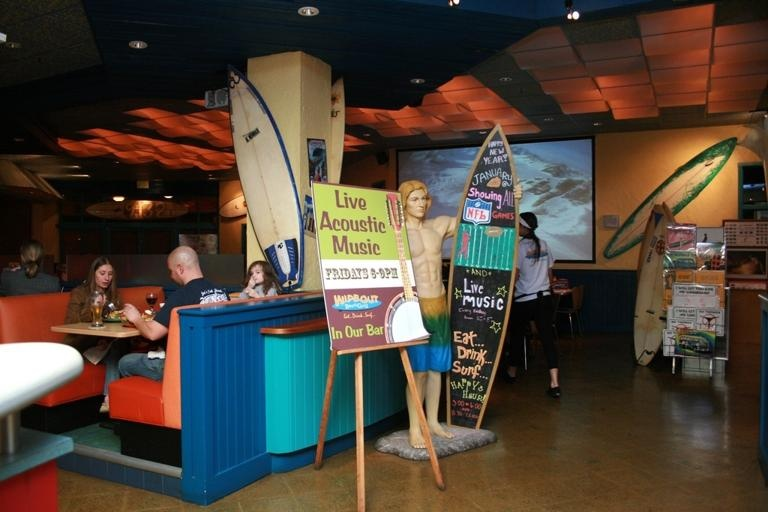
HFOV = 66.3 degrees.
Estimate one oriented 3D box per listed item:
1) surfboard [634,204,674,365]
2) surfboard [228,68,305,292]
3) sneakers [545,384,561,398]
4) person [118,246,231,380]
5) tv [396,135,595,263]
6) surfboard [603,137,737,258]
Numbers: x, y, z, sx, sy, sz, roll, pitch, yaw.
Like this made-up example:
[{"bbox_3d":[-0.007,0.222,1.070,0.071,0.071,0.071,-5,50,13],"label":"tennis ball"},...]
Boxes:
[{"bbox_3d":[3.828,0.441,8.382,0.314,2.499,0.554,16,-14,-25],"label":"surfboard"},{"bbox_3d":[-1.282,-0.802,6.368,0.689,2.668,0.328,-14,-4,27],"label":"surfboard"},{"bbox_3d":[1.994,1.557,6.815,0.164,0.135,0.179,0,6,2],"label":"sneakers"},{"bbox_3d":[-1.849,0.508,5.059,0.982,1.147,0.524,-1,6,-2],"label":"person"},{"bbox_3d":[1.910,-0.874,8.597,2.565,1.494,0.033,3,6,33],"label":"tv"},{"bbox_3d":[5.090,-1.065,10.221,3.135,0.633,0.278,-44,-12,18],"label":"surfboard"}]
